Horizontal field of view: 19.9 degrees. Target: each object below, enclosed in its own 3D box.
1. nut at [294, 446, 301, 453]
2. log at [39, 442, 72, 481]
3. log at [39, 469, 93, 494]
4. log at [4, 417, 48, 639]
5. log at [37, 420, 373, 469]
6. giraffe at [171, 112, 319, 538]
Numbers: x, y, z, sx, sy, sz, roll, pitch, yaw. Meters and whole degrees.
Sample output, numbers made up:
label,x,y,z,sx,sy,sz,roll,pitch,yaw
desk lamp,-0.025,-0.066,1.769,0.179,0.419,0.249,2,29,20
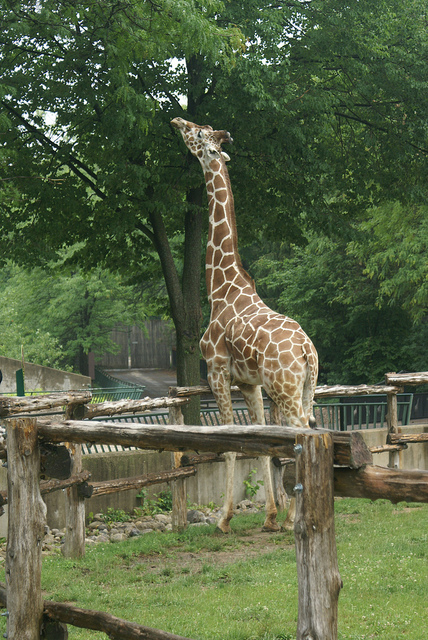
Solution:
label,x,y,z,sx,sy,sz,roll,pitch,yaw
nut,0.649,0.998,9.509,0.056,0.060,0.015,1,1,30
log,-1.402,1.239,10.790,0.244,0.354,0.089,-18,-5,27
log,-1.597,1.700,12.985,0.119,0.234,0.949,10,5,23
log,-1.681,1.806,10.646,0.390,1.904,0.494,-3,6,-7
log,-0.136,1.006,10.190,3.013,0.309,0.410,0,6,30
giraffe,0.362,0.127,15.155,1.348,5.357,3.782,-3,6,-1
